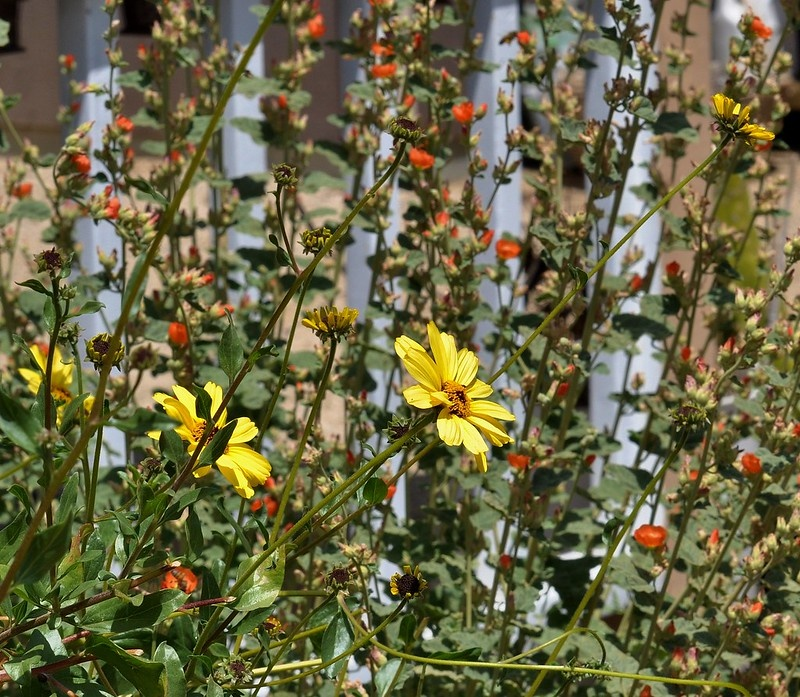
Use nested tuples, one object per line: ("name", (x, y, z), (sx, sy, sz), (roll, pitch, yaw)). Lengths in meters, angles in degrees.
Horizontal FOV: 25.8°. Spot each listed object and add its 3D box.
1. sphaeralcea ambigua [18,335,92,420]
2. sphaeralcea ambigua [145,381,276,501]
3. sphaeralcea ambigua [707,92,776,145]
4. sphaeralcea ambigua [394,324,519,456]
("sphaeralcea ambigua", (-0.691, 0.050, 3.394), (0.167, 0.051, 0.177), (9, -23, 0))
("sphaeralcea ambigua", (-0.357, 0.173, 3.286), (0.213, 0.109, 0.222), (31, 22, -30))
("sphaeralcea ambigua", (0.656, -0.448, 3.390), (0.087, 0.037, 0.093), (17, 16, -45))
("sphaeralcea ambigua", (0.096, 0.083, 3.225), (0.225, 0.073, 0.246), (18, 50, -41))
